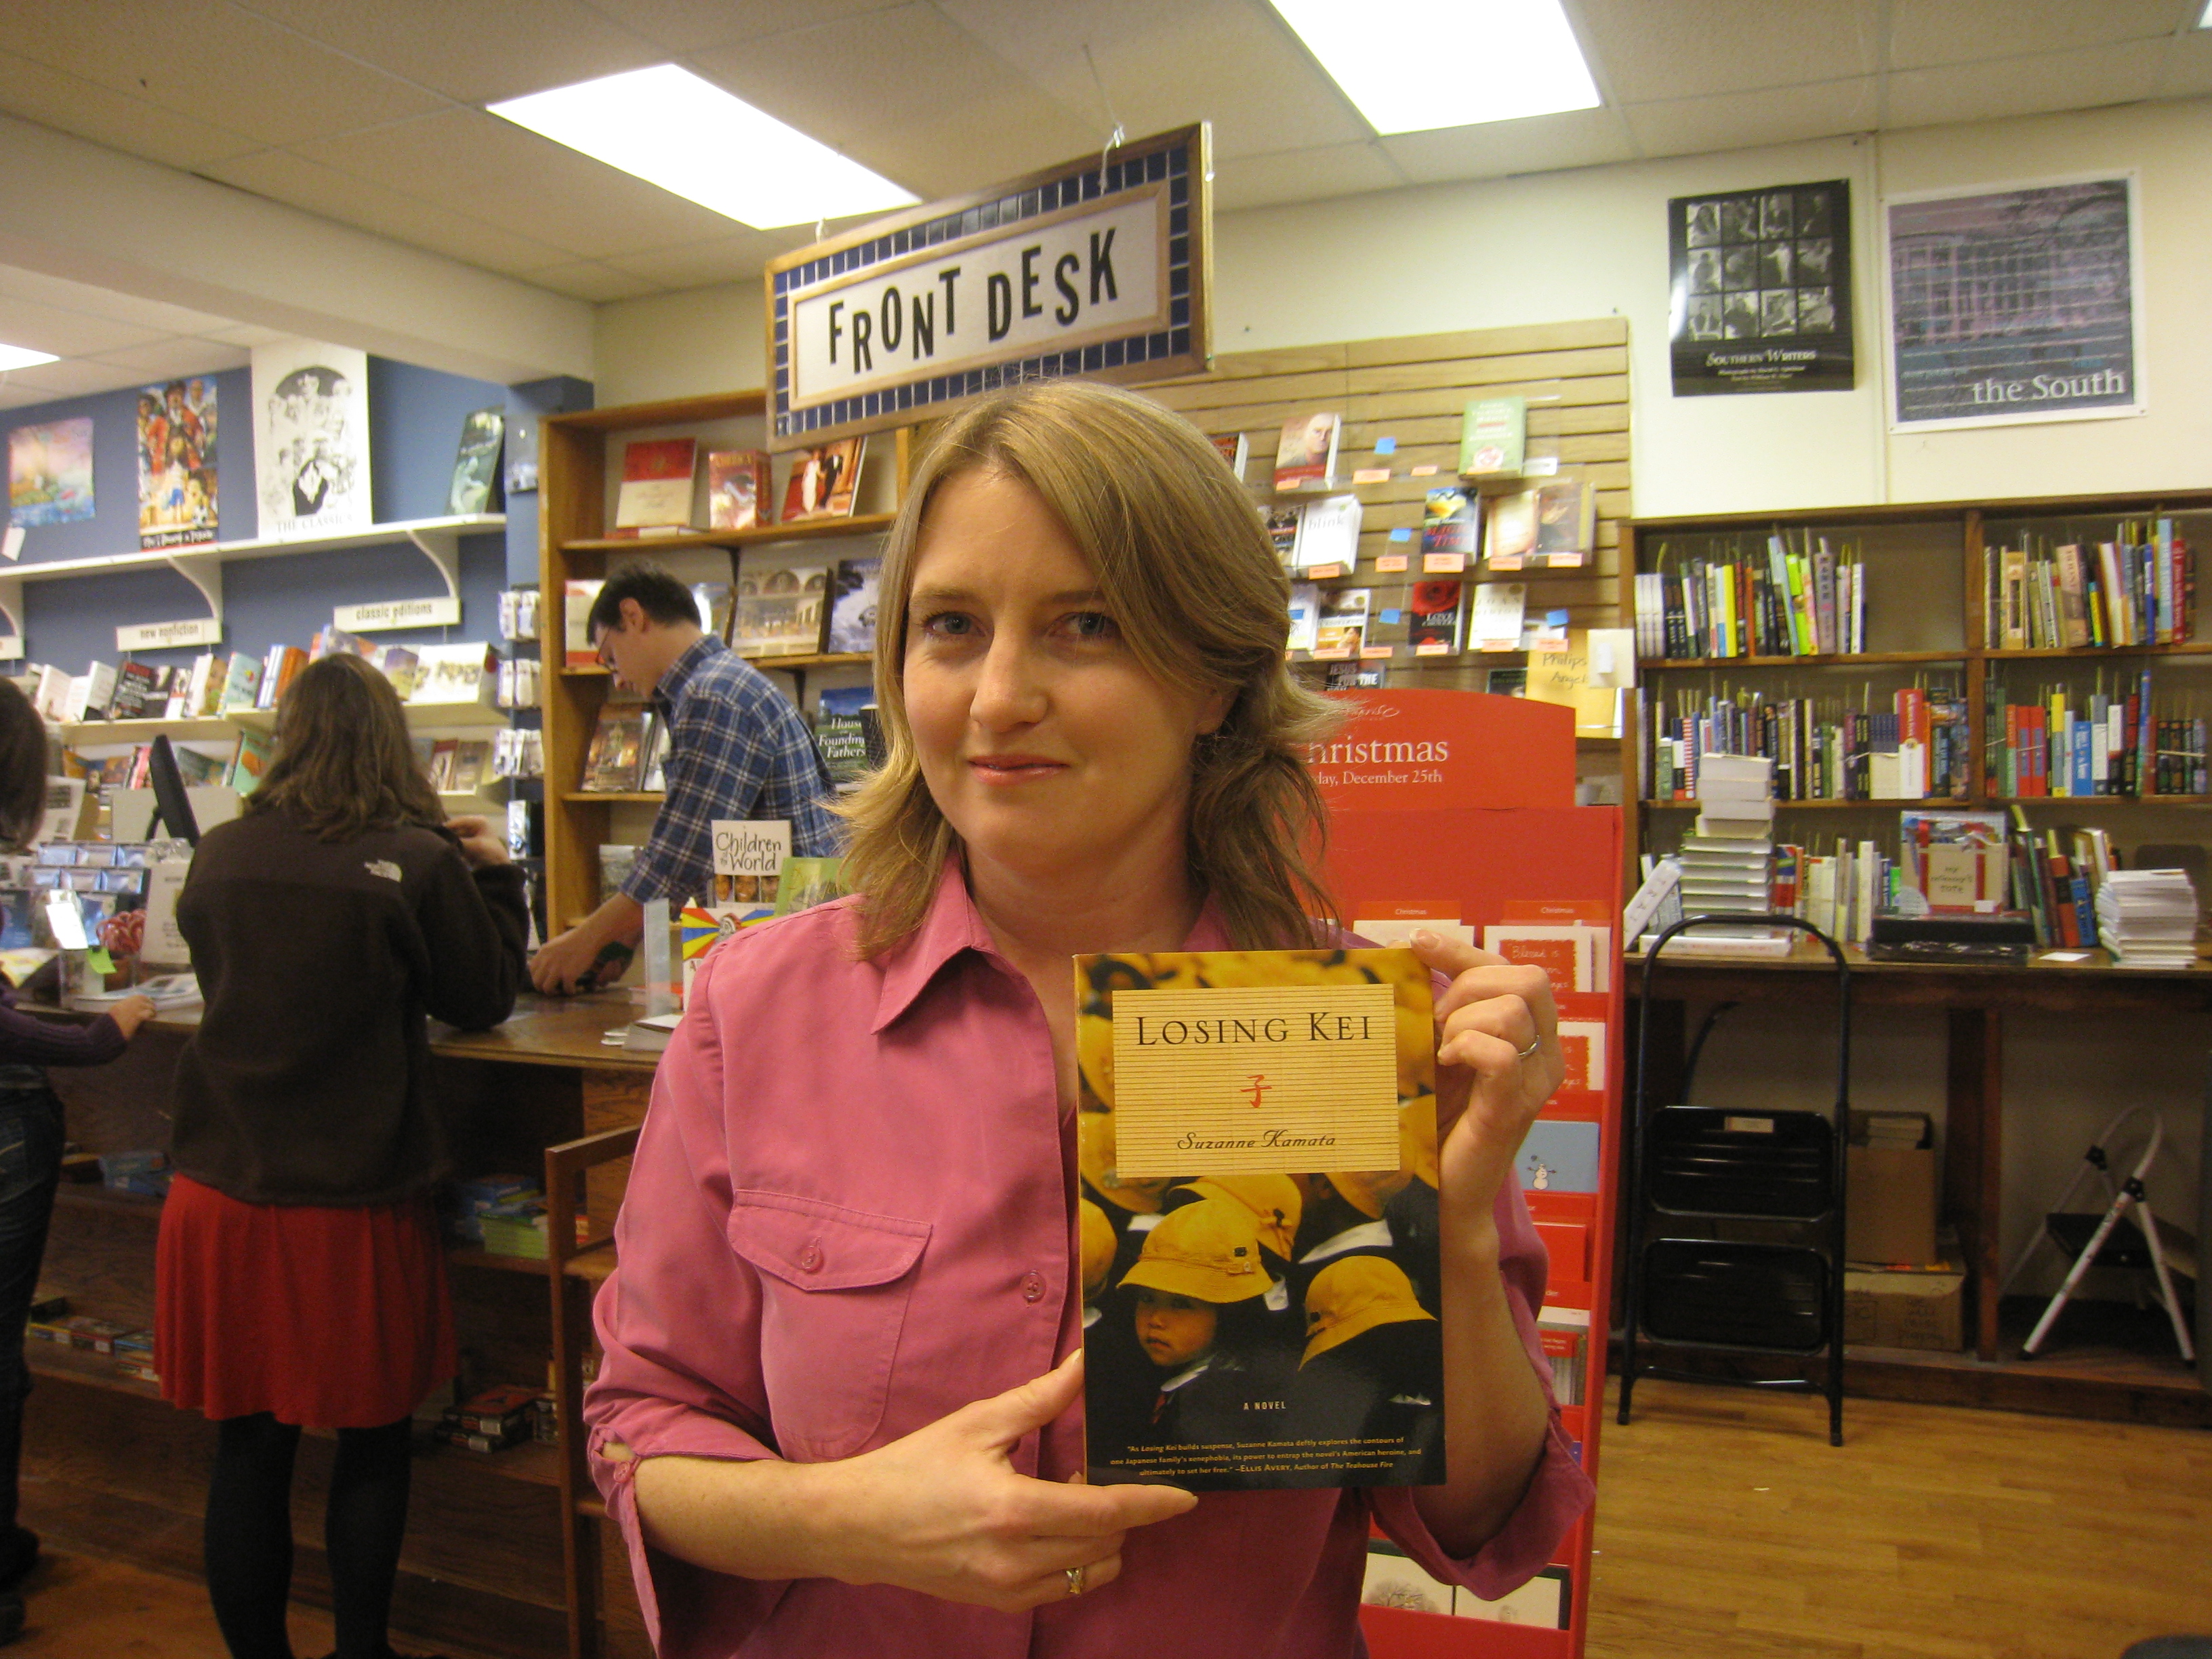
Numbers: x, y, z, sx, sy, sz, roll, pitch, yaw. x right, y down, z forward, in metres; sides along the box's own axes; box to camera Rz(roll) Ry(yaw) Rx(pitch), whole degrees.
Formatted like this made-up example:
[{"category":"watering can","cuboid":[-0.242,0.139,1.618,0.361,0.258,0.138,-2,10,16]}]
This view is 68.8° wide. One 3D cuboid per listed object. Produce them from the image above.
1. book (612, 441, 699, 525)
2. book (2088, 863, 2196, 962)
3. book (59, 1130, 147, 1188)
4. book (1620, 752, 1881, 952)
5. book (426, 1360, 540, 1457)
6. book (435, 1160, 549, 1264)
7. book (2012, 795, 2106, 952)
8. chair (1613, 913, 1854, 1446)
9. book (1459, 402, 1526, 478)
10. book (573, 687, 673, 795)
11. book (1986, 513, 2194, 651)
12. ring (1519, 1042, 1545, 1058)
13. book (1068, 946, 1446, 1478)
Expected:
[{"category":"book","cuboid":[-1.895,-1.455,6.842,0.372,0.494,0.063,-2,-11,14]},{"category":"book","cuboid":[3.149,0.247,4.872,0.257,0.224,0.308,0,1,12]},{"category":"book","cuboid":[-2.596,0.874,4.200,0.161,0.079,0.210,3,-2,-23]},{"category":"book","cuboid":[2.099,0.074,5.178,0.601,0.594,0.242,1,4,15]},{"category":"book","cuboid":[-1.419,1.322,3.681,0.210,0.072,0.218,5,3,21]},{"category":"book","cuboid":[-1.359,0.853,3.617,0.201,0.048,0.191,7,15,5]},{"category":"book","cuboid":[3.108,0.148,5.244,0.297,0.423,0.440,1,8,14]},{"category":"chair","cuboid":[1.911,0.967,4.879,0.658,1.441,0.919,1,8,19]},{"category":"book","cuboid":[1.363,-1.346,5.628,0.243,0.298,0.094,0,-15,19]},{"category":"book","cuboid":[-1.996,-0.341,6.660,0.431,0.513,0.052,-4,-23,29]},{"category":"book","cuboid":[3.167,-0.731,5.282,0.649,0.632,0.431,0,-2,24]},{"category":"ring","cuboid":[0.433,0.222,1.634,0.019,0.020,0.005,-1,-20,-1]},{"category":"book","cuboid":[0.142,0.373,1.534,0.472,0.662,0.027,1,-4,-3]}]
